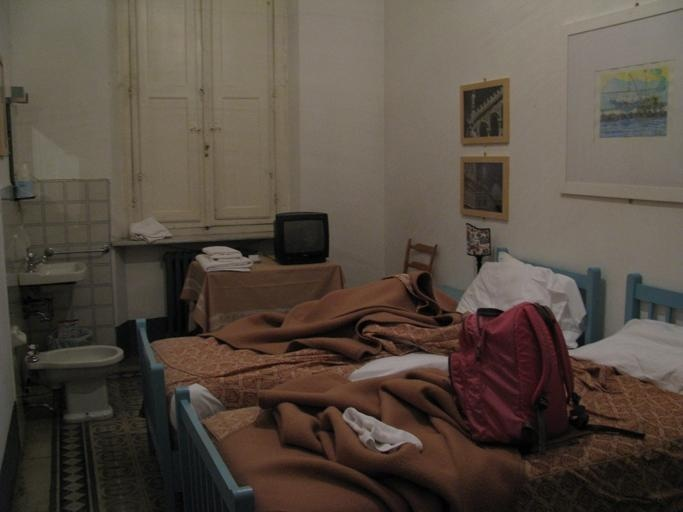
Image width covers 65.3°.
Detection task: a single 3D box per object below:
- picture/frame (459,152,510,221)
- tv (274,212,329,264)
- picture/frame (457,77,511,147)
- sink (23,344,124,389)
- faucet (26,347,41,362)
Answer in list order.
[{"bbox_3d":[1.203,-0.588,4.556,0.551,0.537,0.025,-2,3,-28],"label":"picture/frame"},{"bbox_3d":[-0.411,-0.187,5.216,0.526,0.506,0.309,-6,13,-21],"label":"tv"},{"bbox_3d":[1.202,-1.215,4.482,0.021,0.514,0.500,-11,13,-35],"label":"picture/frame"},{"bbox_3d":[-2.017,0.814,4.071,0.493,0.178,0.369,-6,10,-24],"label":"sink"},{"bbox_3d":[-2.316,0.761,3.998,0.097,0.052,0.132,18,16,-16],"label":"faucet"}]
